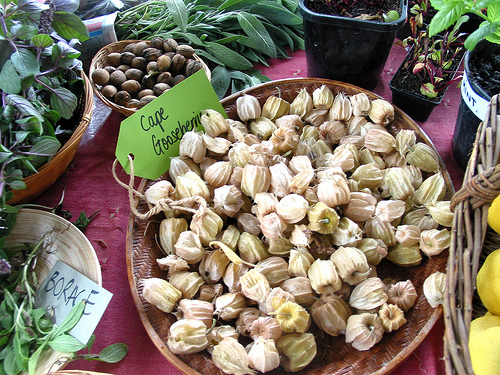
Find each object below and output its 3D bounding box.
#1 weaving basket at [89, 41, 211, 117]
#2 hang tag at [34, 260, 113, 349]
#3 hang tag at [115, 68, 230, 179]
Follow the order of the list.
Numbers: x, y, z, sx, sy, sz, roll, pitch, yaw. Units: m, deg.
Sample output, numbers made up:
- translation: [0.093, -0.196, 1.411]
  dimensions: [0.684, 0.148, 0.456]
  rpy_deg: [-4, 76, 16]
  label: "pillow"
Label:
- translation: [-0.518, -0.491, 1.971]
  dimensions: [0.533, 0.167, 0.470]
  rpy_deg: [4, 59, -14]
  label: "weaving basket"
- translation: [-0.550, 0.348, 1.167]
  dimensions: [0.259, 0.056, 0.155]
  rpy_deg: [28, 70, 14]
  label: "hang tag"
- translation: [-0.292, -0.229, 1.423]
  dimensions: [0.484, 0.312, 0.038]
  rpy_deg: [-38, 34, -23]
  label: "hang tag"
